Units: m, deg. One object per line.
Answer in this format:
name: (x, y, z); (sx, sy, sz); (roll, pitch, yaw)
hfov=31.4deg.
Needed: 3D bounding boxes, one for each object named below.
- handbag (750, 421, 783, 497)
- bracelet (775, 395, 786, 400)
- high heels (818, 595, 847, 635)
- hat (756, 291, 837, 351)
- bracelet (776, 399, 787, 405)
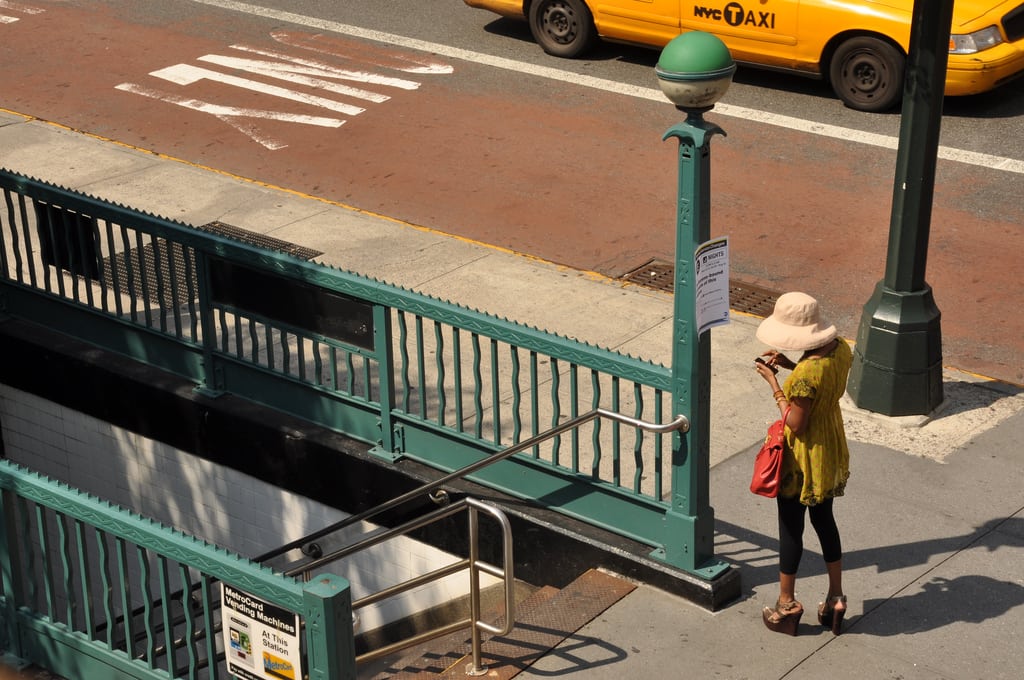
handbag: (2.066, 0.956, 14.735); (0.228, 0.695, 0.322); (5, 24, 8)
bracelet: (2.147, 0.440, 14.671); (0.047, 0.038, 0.043); (1, 2, 20)
high heels: (2.607, 2.225, 14.937); (0.165, 0.157, 0.405); (-5, 19, 4)
hat: (2.283, -0.246, 14.765); (0.729, 0.313, 0.714); (8, 32, 11)
bracelet: (2.155, 0.473, 14.643); (0.075, 0.019, 0.067); (-2, 2, -5)
